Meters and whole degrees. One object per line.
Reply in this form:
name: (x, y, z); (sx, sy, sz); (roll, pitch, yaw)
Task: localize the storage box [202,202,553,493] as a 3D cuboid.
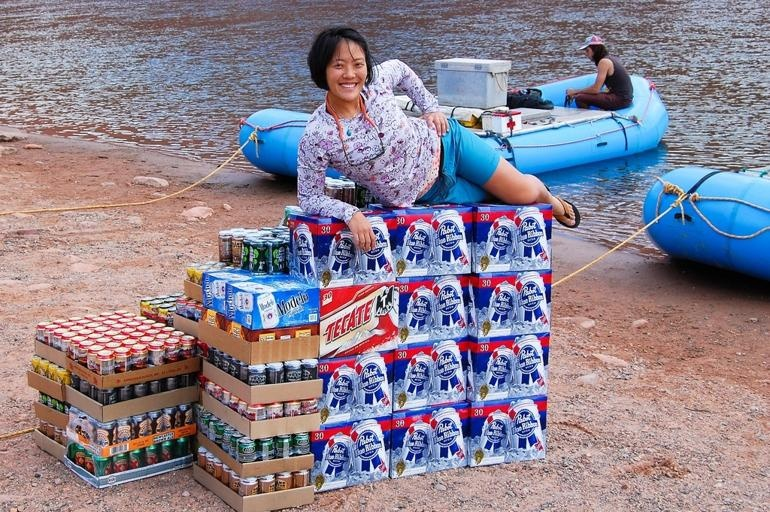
storage box: (-0.094, 0.779, 7.174); (3.906, 1.747, 1.012); (0, 3, -18)

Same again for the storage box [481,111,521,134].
storage box: (2.119, -2.360, 15.293); (0.586, 0.282, 0.798); (13, 19, 42)

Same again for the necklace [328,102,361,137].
necklace: (-0.367, -1.110, 7.081); (0.251, 0.253, 0.113); (-26, -6, -20)

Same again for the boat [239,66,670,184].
boat: (2.009, -2.314, 16.018); (7.455, 1.010, 3.487); (-6, 15, -30)
